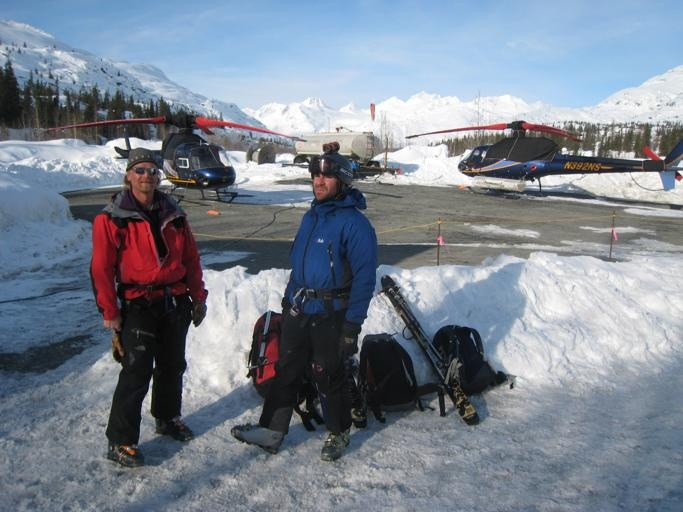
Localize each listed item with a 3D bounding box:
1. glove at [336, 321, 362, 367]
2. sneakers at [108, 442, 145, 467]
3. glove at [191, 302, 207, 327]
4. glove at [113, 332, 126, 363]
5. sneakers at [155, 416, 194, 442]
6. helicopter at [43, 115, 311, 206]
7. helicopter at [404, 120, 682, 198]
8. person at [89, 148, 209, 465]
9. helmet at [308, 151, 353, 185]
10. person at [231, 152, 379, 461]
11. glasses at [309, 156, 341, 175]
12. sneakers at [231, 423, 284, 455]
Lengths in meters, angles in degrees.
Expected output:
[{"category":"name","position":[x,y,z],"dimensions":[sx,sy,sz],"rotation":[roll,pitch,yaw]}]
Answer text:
[{"category":"glove","position":[0.111,0.925,5.688],"dimensions":[0.310,0.428,0.136],"rotation":[1,0,27]},{"category":"sneakers","position":[-2.170,2.026,5.582],"dimensions":[0.357,0.175,0.184],"rotation":[7,9,17]},{"category":"glove","position":[-1.555,0.666,5.996],"dimensions":[0.204,0.287,0.092],"rotation":[3,-8,-3]},{"category":"glove","position":[-2.222,0.927,5.496],"dimensions":[0.162,0.282,0.074],"rotation":[0,1,23]},{"category":"sneakers","position":[-1.802,1.895,5.906],"dimensions":[0.446,0.199,0.194],"rotation":[7,17,12]},{"category":"helicopter","position":[-5.758,-3.577,19.616],"dimensions":[6.976,2.558,6.003],"rotation":[8,11,35]},{"category":"helicopter","position":[10.004,-4.433,24.914],"dimensions":[7.717,2.351,6.024],"rotation":[10,22,29]},{"category":"person","position":[-1.994,0.500,5.615],"dimensions":[0.608,3.101,1.218],"rotation":[11,20,43]},{"category":"helmet","position":[-0.072,-0.956,5.936],"dimensions":[0.394,0.388,0.521],"rotation":[18,14,30]},{"category":"person","position":[-0.263,0.553,5.742],"dimensions":[1.305,3.108,0.912],"rotation":[-4,14,-9]},{"category":"glasses","position":[-0.172,-0.937,5.709],"dimensions":[0.194,0.122,0.265],"rotation":[5,-2,13]},{"category":"sneakers","position":[-0.864,1.942,5.746],"dimensions":[0.476,0.214,0.159],"rotation":[20,17,3]}]
